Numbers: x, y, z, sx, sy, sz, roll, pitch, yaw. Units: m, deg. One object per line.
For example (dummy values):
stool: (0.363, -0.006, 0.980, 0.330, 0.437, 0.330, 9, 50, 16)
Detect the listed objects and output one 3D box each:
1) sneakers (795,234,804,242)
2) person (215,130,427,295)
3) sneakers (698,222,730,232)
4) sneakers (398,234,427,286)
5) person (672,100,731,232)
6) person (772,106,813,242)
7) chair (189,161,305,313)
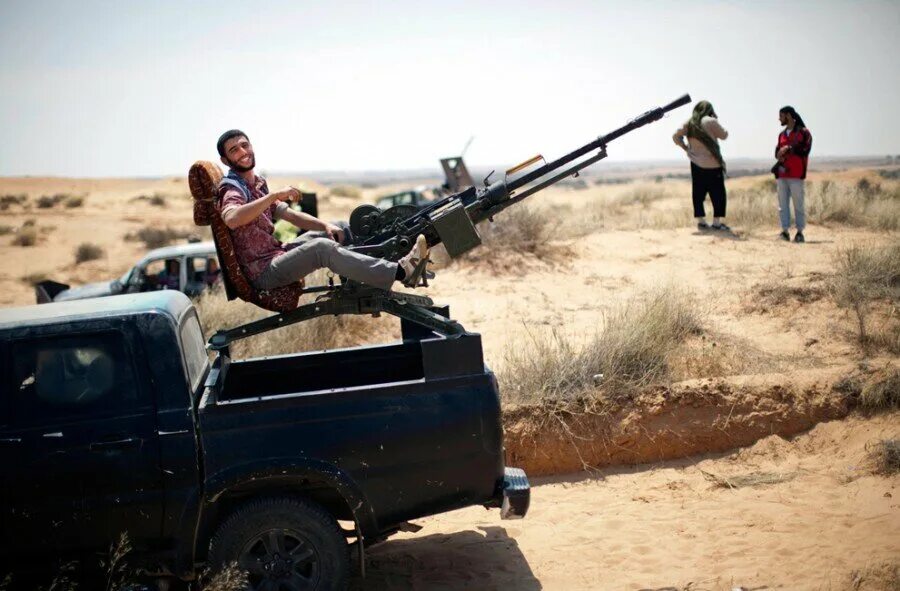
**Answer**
sneakers: (6.303, -1.041, 14.192, 0.119, 0.175, 0.166, -5, 13, 14)
person: (-1.319, -0.864, 8.058, 2.088, 1.595, 1.198, -2, 10, 4)
sneakers: (5.195, -1.349, 15.495, 0.519, 0.144, 0.224, 2, 9, 19)
sneakers: (-0.337, -0.335, 7.872, 0.191, 0.504, 0.288, 14, -12, 30)
person: (4.783, -2.401, 14.814, 0.930, 2.497, 1.064, 2, 14, 22)
person: (6.134, -2.189, 14.151, 0.583, 2.388, 1.023, 2, 14, 23)
chair: (-2.101, -0.579, 7.794, 0.943, 1.552, 0.532, -1, 13, 11)
